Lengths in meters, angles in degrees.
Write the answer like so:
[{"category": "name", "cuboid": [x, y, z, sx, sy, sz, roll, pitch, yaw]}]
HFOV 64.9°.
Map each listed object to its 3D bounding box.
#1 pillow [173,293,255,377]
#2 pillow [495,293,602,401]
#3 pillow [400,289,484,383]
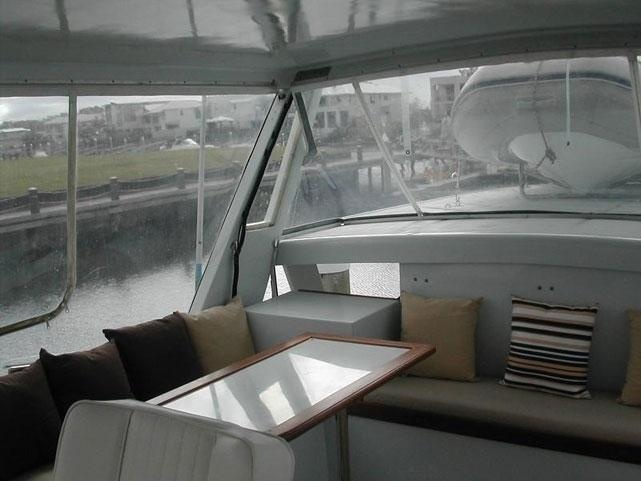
[{"category": "pillow", "cuboid": [-0.790, 0.686, 3.625, 0.169, 0.395, 0.494, -10, 3, 33]}, {"category": "pillow", "cuboid": [1.589, 0.727, 3.410, 0.569, 0.614, 0.240, 6, -23, 28]}, {"category": "pillow", "cuboid": [0.899, 0.710, 3.621, 0.613, 0.620, 0.222, 0, -19, 23]}]
